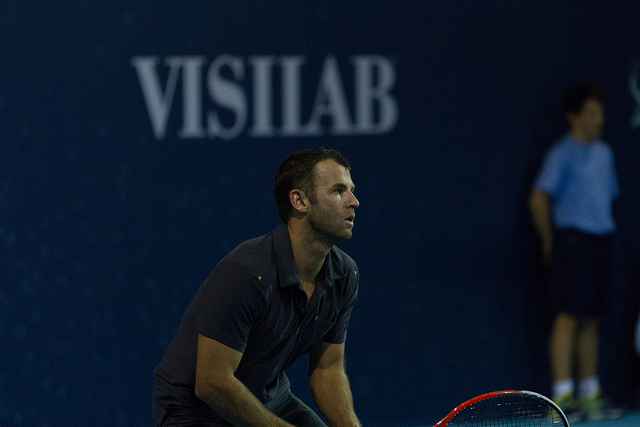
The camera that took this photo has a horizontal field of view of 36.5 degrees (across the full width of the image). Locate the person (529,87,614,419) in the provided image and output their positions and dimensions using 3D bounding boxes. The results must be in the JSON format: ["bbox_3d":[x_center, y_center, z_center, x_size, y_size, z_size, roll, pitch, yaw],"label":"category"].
[{"bbox_3d":[1.876,0.304,7.007,0.612,2.285,0.548,-8,-12,18],"label":"person"}]

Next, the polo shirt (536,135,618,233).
[{"bbox_3d":[1.808,-0.215,6.980,0.575,0.671,0.339,1,0,-24],"label":"polo shirt"}]

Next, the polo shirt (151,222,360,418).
[{"bbox_3d":[-0.340,0.671,5.902,1.068,1.243,0.799,11,11,-41],"label":"polo shirt"}]
